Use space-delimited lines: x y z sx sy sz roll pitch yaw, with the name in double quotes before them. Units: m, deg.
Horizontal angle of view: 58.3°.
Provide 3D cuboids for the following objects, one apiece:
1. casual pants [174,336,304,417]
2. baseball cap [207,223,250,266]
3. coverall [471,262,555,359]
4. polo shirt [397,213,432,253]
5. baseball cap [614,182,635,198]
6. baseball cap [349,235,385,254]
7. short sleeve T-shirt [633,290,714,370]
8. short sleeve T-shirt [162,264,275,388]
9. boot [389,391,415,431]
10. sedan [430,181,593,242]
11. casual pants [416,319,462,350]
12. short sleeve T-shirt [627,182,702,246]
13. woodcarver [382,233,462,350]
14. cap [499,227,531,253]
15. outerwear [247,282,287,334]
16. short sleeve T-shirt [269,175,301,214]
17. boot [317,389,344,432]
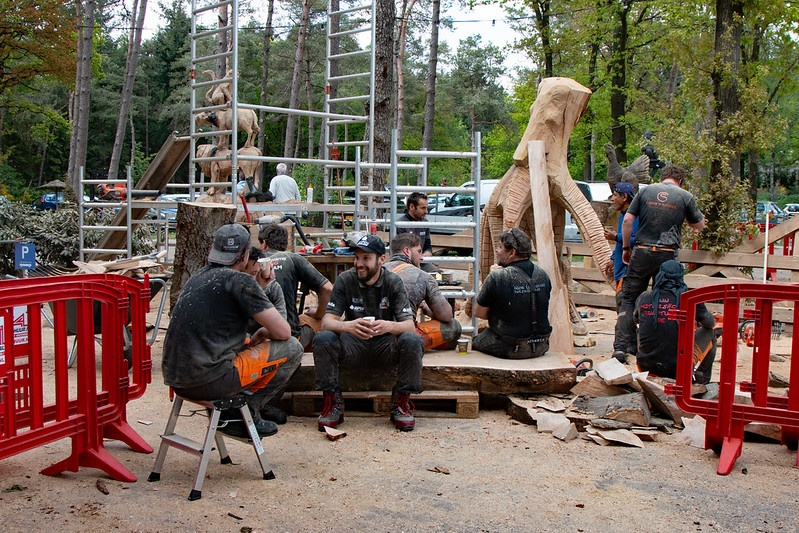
"casual pants" -1.577 1.149 7.284 1.191 0.711 1.376 -7 -7 9
"baseball cap" -1.618 -0.253 6.793 0.349 0.276 0.542 11 26 7
"coverall" 1.313 0.421 8.860 1.170 1.343 1.062 -3 12 -14
"polo shirt" 0.226 -0.439 10.815 0.589 0.606 0.327 4 -15 -32
"baseball cap" 3.242 -1.109 10.355 0.271 0.139 0.197 3 14 -34
"baseball cap" -0.343 -0.211 7.750 0.292 0.147 0.208 13 -1 -25
"short sleeve T-shirt" 3.458 0.710 8.998 0.992 1.350 1.056 0 -6 29
"short sleeve T-shirt" -1.866 0.567 6.990 0.785 1.190 1.260 3 0 -43
"boot" 0.035 1.583 7.824 0.225 0.392 0.237 1 2 -12
"sedan" 3.247 -1.774 21.680 4.195 2.004 2.335 5 6 19
"casual pants" 0.475 0.840 8.762 0.526 0.327 0.200 10 -42 -31
"short sleeve T-shirt" 3.591 -0.621 9.658 1.038 0.960 0.581 10 7 20
"woodcarver" 0.137 0.373 8.725 1.197 1.493 1.053 4 -3 20
"cap" 1.379 -0.310 8.472 0.300 0.310 0.279 -3 0 35
"outerwear" -1.299 0.396 7.011 0.582 0.534 0.322 0 -5 -4
"short sleeve T-shirt" -2.427 -1.612 15.101 0.743 0.654 0.373 -3 7 -32
"boot" -0.752 1.563 7.805 0.238 0.409 0.454 2 2 10
